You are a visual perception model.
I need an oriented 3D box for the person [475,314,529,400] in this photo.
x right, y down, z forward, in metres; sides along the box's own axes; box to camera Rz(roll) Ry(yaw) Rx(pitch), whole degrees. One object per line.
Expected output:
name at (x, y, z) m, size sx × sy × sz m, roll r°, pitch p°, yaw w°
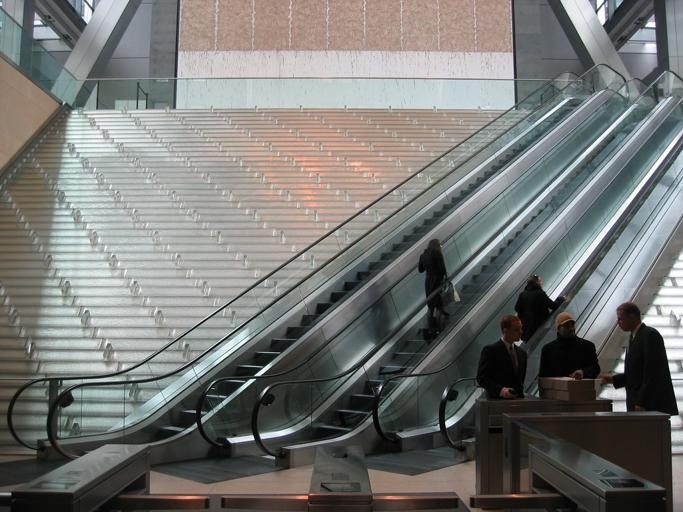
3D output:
person at (1.435, 0.949, 5.545) m, size 0.405 × 0.809 × 0.631 m, roll 3°, pitch 13°, yaw 17°

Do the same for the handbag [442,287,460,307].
handbag at (1.531, 0.600, 8.739) m, size 0.279 × 0.258 × 0.152 m, roll -11°, pitch 32°, yaw 14°

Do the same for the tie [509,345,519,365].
tie at (1.558, 0.905, 5.632) m, size 0.037 × 0.159 × 0.093 m, roll 1°, pitch -2°, yaw -5°

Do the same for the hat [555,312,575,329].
hat at (2.142, 0.614, 5.982) m, size 0.170 × 0.135 × 0.237 m, roll -2°, pitch -22°, yaw -3°

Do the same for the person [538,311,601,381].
person at (2.104, 0.973, 5.819) m, size 0.586 × 0.853 × 0.495 m, roll -2°, pitch -15°, yaw 27°

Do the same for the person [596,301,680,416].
person at (2.980, 1.073, 6.282) m, size 0.817 × 1.525 × 0.617 m, roll -1°, pitch -31°, yaw 16°

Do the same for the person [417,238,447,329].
person at (1.309, 0.423, 8.869) m, size 0.382 × 1.246 × 0.714 m, roll 1°, pitch 12°, yaw 6°

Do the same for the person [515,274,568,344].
person at (2.520, 0.822, 8.242) m, size 0.510 × 1.007 × 0.489 m, roll 7°, pitch 6°, yaw 29°
